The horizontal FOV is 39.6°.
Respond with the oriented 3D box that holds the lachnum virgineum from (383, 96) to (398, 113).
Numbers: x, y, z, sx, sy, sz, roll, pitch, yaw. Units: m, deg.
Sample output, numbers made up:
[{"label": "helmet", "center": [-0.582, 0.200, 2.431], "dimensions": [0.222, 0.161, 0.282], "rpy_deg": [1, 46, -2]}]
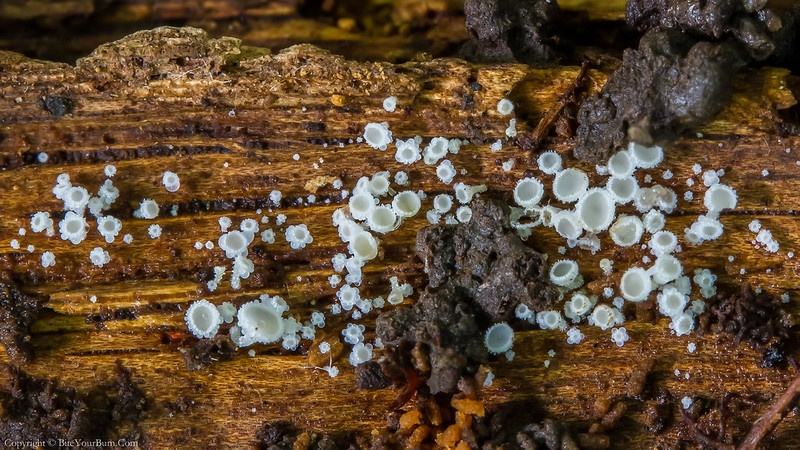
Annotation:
[{"label": "lachnum virgineum", "center": [-0.144, -1.725, 15.835], "dimensions": [0.225, 0.192, 0.081], "rpy_deg": [11, 6, 0]}]
